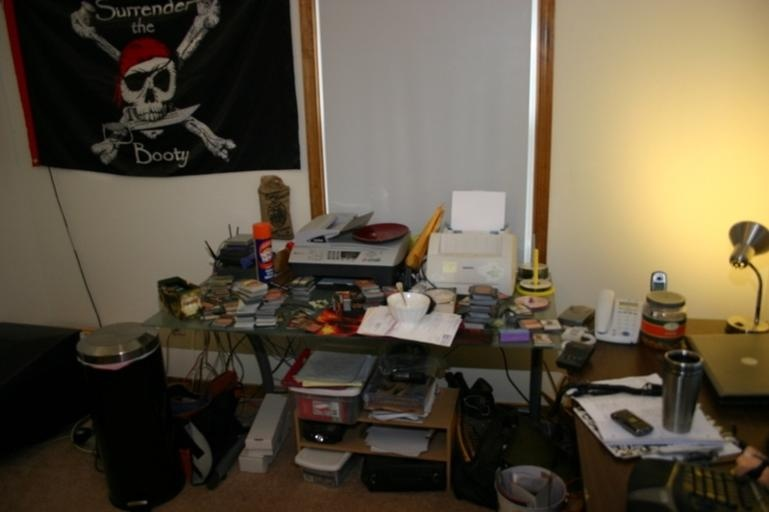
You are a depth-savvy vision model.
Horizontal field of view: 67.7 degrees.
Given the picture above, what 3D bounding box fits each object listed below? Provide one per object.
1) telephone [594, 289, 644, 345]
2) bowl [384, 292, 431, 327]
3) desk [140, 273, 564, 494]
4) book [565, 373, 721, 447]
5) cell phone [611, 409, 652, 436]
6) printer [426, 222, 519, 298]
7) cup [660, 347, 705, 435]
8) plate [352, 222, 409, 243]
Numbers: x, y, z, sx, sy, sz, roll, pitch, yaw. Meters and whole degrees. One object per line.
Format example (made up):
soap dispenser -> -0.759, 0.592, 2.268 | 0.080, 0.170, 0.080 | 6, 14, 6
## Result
telephone -> 1.209, 0.302, 2.989 | 0.258, 0.123, 0.329 | -8, 39, 17
bowl -> 0.123, 0.253, 2.906 | 0.217, 0.118, 0.160 | 0, 17, 2
desk -> -0.390, 0.581, 3.330 | 2.649, 1.072, 0.894 | 4, 18, 17
book -> 1.091, 0.663, 2.450 | 0.290, 0.037, 0.313 | -8, 20, 1
cell phone -> 1.029, 0.686, 2.410 | 0.073, 0.033, 0.124 | -14, 23, -25
printer -> 0.459, 0.024, 3.097 | 0.375, 0.286, 0.387 | 2, 9, 15
cup -> 1.224, 0.557, 2.388 | 0.142, 0.310, 0.165 | 9, 19, 29
plate -> -0.026, -0.136, 3.341 | 0.328, 0.048, 0.271 | -10, 19, -28
